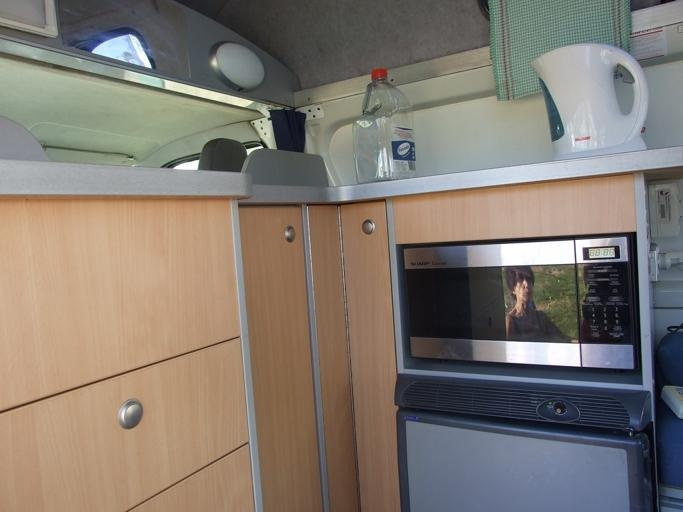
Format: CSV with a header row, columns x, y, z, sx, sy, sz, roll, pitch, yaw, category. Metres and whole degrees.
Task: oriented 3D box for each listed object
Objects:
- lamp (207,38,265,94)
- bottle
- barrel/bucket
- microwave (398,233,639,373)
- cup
x,y,z,sx,sy,sz,roll,pitch,yaw,category
-0.392,-0.747,2.057,0.050,0.180,0.273,-3,2,39,lamp
0.165,-0.515,2.037,0.244,0.415,0.257,-5,9,1,bottle
0.168,-0.512,2.038,0.238,0.417,0.248,-5,9,1,barrel/bucket
0.578,0.104,1.702,0.636,0.415,0.360,-2,17,25,microwave
0.770,-0.445,1.584,0.305,0.344,0.200,-8,-8,22,cup
